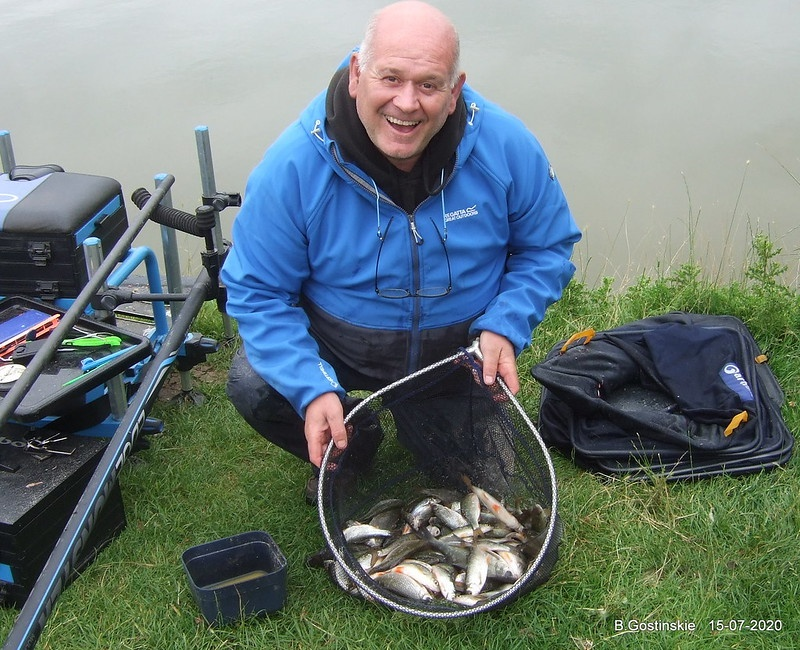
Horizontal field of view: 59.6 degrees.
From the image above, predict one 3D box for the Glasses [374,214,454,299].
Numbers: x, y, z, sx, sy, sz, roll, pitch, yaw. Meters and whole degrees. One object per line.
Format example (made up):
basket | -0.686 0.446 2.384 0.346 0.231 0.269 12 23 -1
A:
Glasses | 0.047 -0.291 2.757 0.255 0.341 0.088 0 10 -4
